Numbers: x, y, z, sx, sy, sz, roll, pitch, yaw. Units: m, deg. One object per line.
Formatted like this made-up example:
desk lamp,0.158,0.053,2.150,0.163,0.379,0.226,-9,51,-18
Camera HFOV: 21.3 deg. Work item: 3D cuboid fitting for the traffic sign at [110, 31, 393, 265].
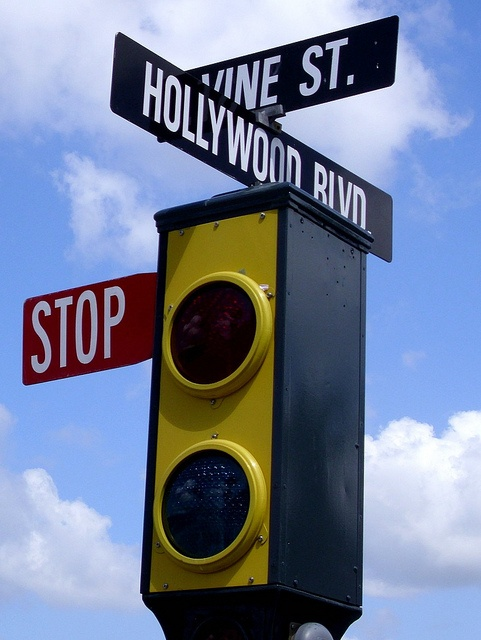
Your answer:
traffic sign,0.058,-0.605,4.432,0.159,0.408,1.382,-17,-34,41

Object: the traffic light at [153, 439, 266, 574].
traffic light,-0.075,0.513,3.472,0.268,0.321,0.044,-15,-25,28

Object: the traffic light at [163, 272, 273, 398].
traffic light,-0.056,0.048,3.632,0.279,0.365,0.050,-6,-20,27
